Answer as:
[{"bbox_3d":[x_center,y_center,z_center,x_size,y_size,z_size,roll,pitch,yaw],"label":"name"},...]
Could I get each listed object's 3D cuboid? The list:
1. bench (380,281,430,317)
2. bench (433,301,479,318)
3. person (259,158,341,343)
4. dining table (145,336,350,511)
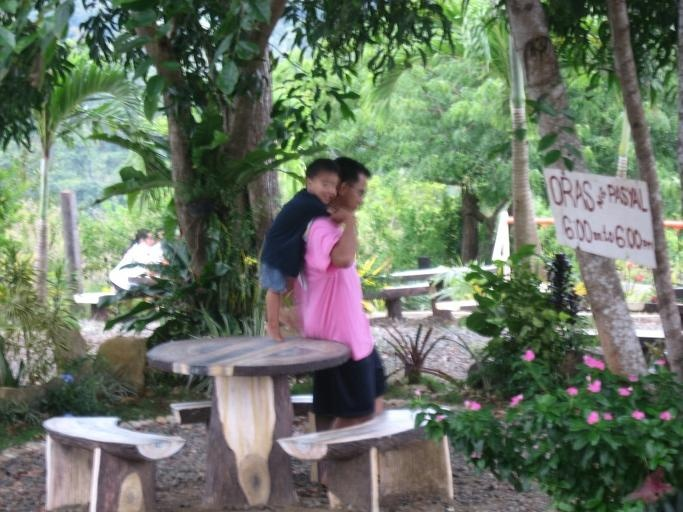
[{"bbox_3d":[0.942,0.582,12.114,0.677,0.557,1.600,-4,-7,6],"label":"bench"},{"bbox_3d":[1.691,0.775,12.737,0.593,0.328,1.465,-5,-8,8],"label":"bench"},{"bbox_3d":[-0.309,-0.043,5.801,0.644,1.155,0.239,-8,-8,35],"label":"person"},{"bbox_3d":[-0.649,1.049,5.782,1.117,0.871,1.166,3,6,21],"label":"dining table"}]
